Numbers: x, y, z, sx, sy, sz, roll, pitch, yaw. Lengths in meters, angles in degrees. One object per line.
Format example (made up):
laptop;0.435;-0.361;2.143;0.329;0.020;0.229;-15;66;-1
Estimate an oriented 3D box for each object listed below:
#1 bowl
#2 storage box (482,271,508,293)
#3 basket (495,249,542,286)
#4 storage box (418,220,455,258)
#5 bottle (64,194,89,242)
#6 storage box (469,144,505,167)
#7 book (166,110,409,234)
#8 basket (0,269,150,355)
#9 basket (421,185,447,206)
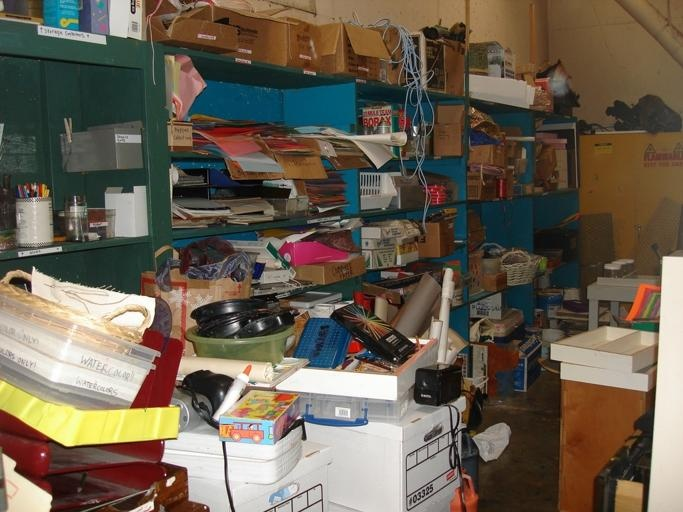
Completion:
bowl;-0.332;0.226;1.893;0.282;0.118;0.277;1;2;0
storage box;1.264;0.261;4.580;0.160;0.115;0.284;-1;5;23
basket;1.565;0.104;4.861;0.307;0.180;0.404;-1;7;36
storage box;0.674;-0.113;4.048;0.249;0.281;0.450;5;11;29
bottle;-1.004;-0.139;2.082;0.085;0.170;0.082;-3;9;0
storage box;1.209;-0.823;4.588;0.244;0.131;0.241;5;9;34
book;-0.264;-0.433;2.805;0.380;0.495;1.402;6;12;43
basket;-0.616;0.140;1.317;0.340;0.053;0.177;21;7;-8
basket;0.676;-0.431;3.961;0.182;0.141;0.167;-3;10;-5
